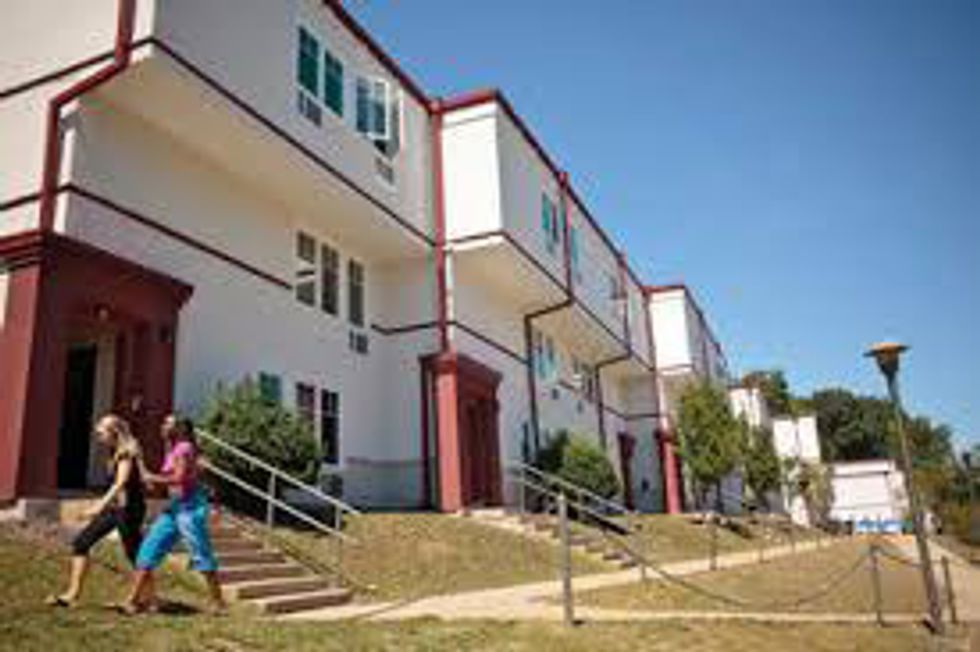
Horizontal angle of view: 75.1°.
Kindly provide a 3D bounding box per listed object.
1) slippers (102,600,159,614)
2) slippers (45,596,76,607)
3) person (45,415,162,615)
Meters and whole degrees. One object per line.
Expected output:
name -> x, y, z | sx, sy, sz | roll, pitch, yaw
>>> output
slippers -> -4.479, 3.511, 7.882 | 0.546, 0.062, 0.148 | 14, -18, -5
slippers -> -5.192, 3.350, 7.662 | 0.318, 0.077, 0.137 | 15, -17, -8
person -> -4.805, 2.277, 8.031 | 0.884, 2.331, 0.709 | -11, -18, 33
